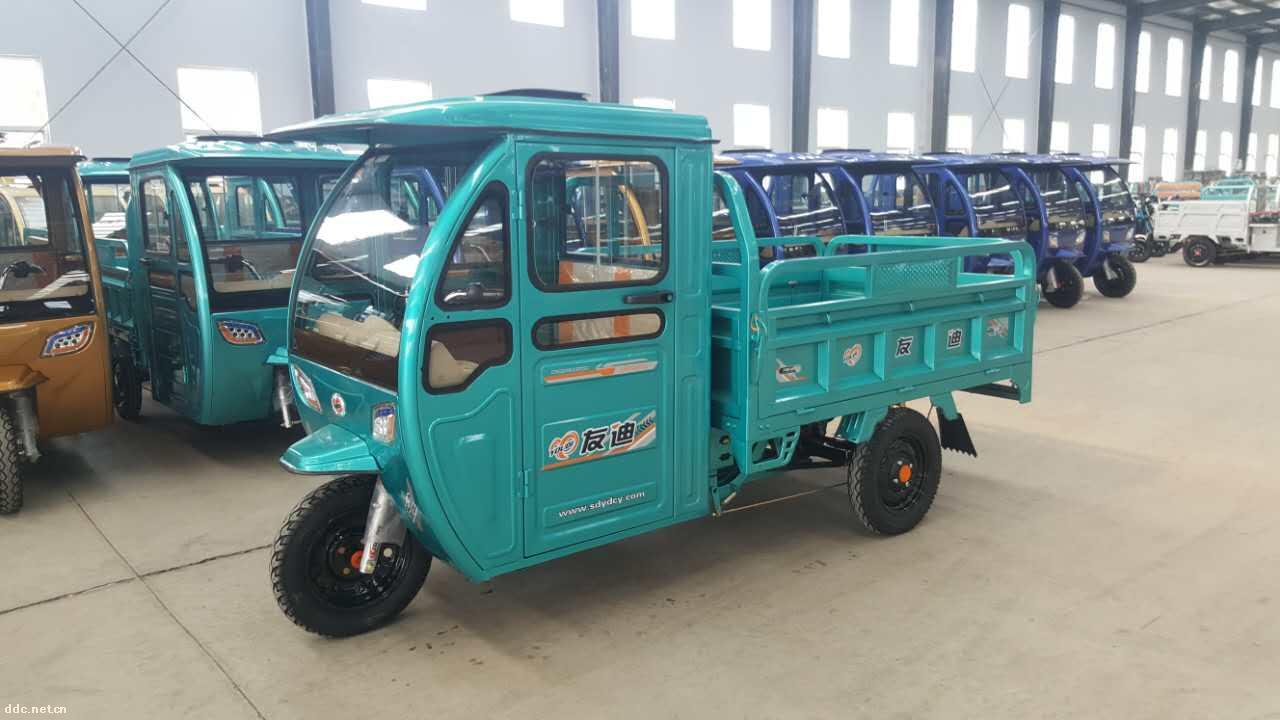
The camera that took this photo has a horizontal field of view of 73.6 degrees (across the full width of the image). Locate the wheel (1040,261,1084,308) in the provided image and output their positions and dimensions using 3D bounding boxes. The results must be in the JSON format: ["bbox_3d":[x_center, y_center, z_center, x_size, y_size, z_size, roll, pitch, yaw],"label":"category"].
[{"bbox_3d":[7.851,-1.444,15.878,0.297,0.788,0.728,-9,-12,-32],"label":"wheel"}]

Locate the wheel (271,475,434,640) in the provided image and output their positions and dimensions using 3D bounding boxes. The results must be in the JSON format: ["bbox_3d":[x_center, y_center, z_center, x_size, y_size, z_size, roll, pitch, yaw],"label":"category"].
[{"bbox_3d":[-2.247,1.595,6.780,0.983,1.064,0.344,39,-1,-17],"label":"wheel"}]

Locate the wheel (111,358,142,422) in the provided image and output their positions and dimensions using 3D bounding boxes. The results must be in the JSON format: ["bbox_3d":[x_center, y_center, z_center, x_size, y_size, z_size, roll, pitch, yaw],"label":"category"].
[{"bbox_3d":[-6.085,0.317,10.149,0.221,0.710,0.679,-12,-3,-40],"label":"wheel"}]

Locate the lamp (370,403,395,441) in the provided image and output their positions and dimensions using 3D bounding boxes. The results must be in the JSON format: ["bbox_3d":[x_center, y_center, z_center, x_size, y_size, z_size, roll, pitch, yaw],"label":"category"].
[{"bbox_3d":[-1.939,0.466,6.489,0.268,0.295,0.084,11,21,41],"label":"lamp"}]

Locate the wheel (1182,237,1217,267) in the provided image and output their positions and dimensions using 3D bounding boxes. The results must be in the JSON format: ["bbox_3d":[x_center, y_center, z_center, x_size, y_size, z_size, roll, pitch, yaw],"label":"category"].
[{"bbox_3d":[14.057,-2.755,21.410,0.820,0.759,0.315,-2,5,41],"label":"wheel"}]

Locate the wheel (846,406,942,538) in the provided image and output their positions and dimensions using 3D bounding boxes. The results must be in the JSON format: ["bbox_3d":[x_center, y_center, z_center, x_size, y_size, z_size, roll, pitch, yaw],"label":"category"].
[{"bbox_3d":[2.297,1.015,7.770,1.169,1.185,0.371,-8,9,-30],"label":"wheel"}]
